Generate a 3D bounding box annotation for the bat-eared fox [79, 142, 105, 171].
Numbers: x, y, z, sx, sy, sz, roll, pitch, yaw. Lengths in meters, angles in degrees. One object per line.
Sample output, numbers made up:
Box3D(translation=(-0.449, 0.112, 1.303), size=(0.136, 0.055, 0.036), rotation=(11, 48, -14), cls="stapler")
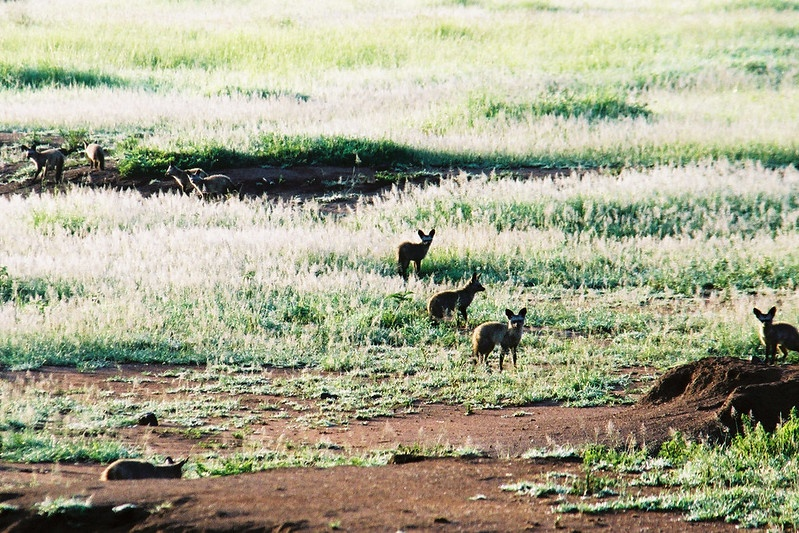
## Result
Box3D(translation=(-12.463, -4.464, 66.676), size=(0.722, 1.148, 0.916), rotation=(-3, 15, -8), cls="bat-eared fox")
